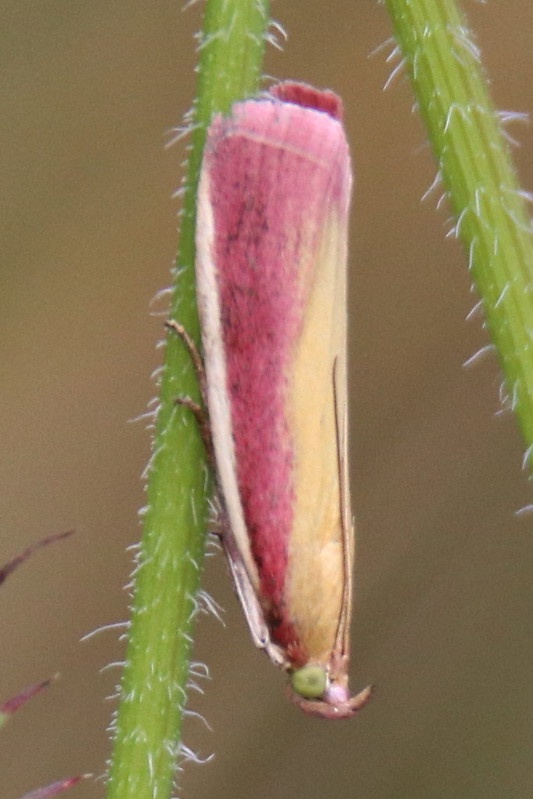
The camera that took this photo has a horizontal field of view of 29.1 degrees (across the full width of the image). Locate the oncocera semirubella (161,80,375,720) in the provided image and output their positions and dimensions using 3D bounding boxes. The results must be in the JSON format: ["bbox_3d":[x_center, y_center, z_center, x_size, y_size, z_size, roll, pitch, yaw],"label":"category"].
[{"bbox_3d":[0.014,-0.016,0.740,0.131,0.121,0.441,-3,89,46],"label":"oncocera semirubella"}]
